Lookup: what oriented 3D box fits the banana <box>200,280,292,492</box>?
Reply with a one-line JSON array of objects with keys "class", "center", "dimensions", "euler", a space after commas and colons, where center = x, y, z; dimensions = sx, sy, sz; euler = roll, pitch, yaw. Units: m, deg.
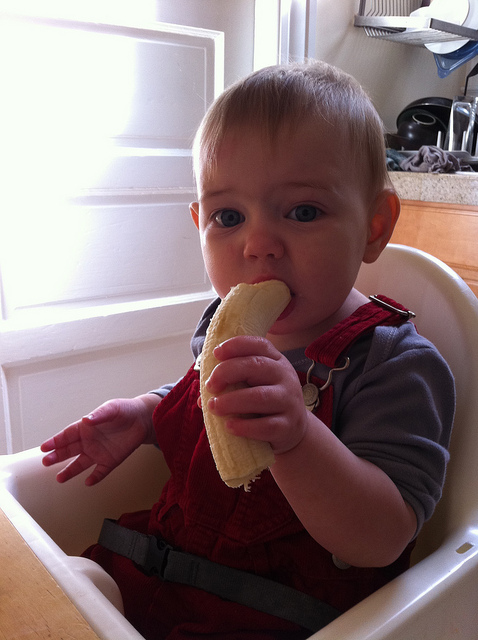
[{"class": "banana", "center": [0.006, 0.032, 0.433], "dimensions": [0.065, 0.098, 0.269], "euler": [5, 23, 6]}]

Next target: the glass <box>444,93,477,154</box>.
[{"class": "glass", "center": [0.812, -0.717, 1.819], "dimensions": [0.087, 0.183, 0.122], "euler": [10, 24, 19]}]
